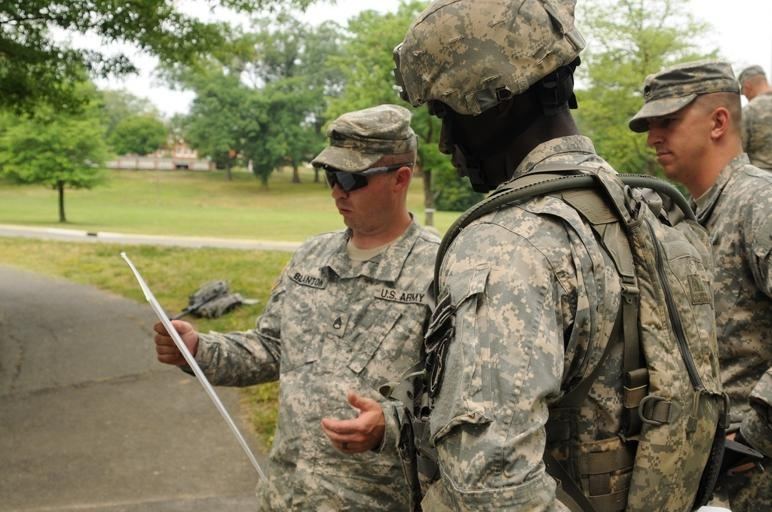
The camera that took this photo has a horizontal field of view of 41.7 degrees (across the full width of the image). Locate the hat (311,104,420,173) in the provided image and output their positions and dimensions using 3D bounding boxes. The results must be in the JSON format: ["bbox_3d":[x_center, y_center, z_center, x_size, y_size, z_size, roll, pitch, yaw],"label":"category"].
[{"bbox_3d":[-0.153,-0.919,7.788,0.714,0.345,0.511,-5,9,-19],"label":"hat"}]
